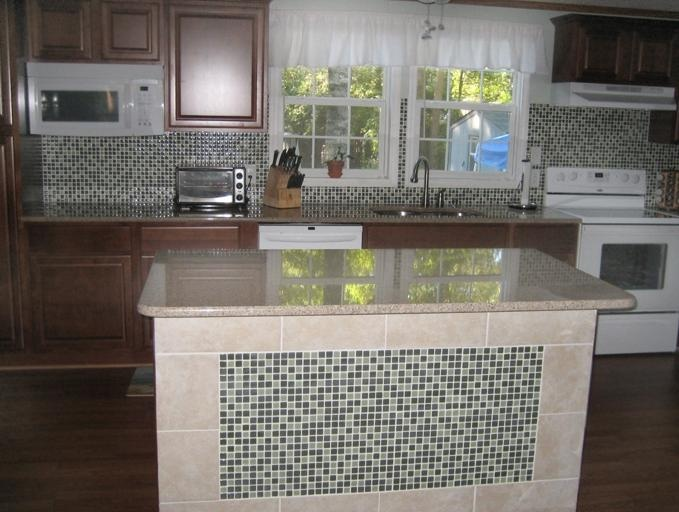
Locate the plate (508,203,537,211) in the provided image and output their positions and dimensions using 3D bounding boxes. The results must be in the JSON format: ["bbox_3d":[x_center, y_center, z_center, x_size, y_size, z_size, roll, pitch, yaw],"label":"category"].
[{"bbox_3d":[1.415,-0.383,5.211,0.209,0.035,0.271,5,14,13],"label":"plate"}]

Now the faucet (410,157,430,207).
[{"bbox_3d":[0.634,-0.598,5.276,0.160,0.383,0.401,3,13,6],"label":"faucet"}]

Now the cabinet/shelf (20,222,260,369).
[{"bbox_3d":[-1.154,0.161,3.766,0.936,0.633,0.298,-1,7,-5],"label":"cabinet/shelf"}]

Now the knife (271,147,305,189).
[{"bbox_3d":[-0.383,-0.634,4.828,0.246,0.278,0.142,12,17,37],"label":"knife"}]

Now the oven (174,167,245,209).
[{"bbox_3d":[-0.925,-0.506,4.850,0.472,0.292,0.280,-2,11,-16],"label":"oven"}]
